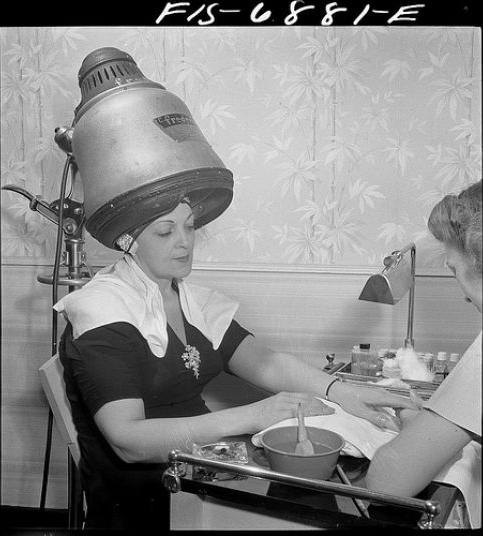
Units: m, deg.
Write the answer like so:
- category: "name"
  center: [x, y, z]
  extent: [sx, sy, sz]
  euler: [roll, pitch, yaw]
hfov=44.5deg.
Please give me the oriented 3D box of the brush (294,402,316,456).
- category: "brush"
  center: [0.104, 0.287, 1.018]
  extent: [0.031, 0.088, 0.038]
  euler: [2, -17, -31]

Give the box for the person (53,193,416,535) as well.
- category: "person"
  center: [-0.039, 0.153, 1.630]
  extent: [0.814, 1.131, 0.533]
  euler: [-2, 10, 5]

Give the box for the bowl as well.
- category: "bowl"
  center: [0.103, 0.317, 1.001]
  extent: [0.140, 0.074, 0.100]
  euler: [2, 3, 1]

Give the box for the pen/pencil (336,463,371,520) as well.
- category: "pen/pencil"
  center: [0.180, 0.366, 0.990]
  extent: [0.023, 0.101, 0.026]
  euler: [-39, -19, 29]
